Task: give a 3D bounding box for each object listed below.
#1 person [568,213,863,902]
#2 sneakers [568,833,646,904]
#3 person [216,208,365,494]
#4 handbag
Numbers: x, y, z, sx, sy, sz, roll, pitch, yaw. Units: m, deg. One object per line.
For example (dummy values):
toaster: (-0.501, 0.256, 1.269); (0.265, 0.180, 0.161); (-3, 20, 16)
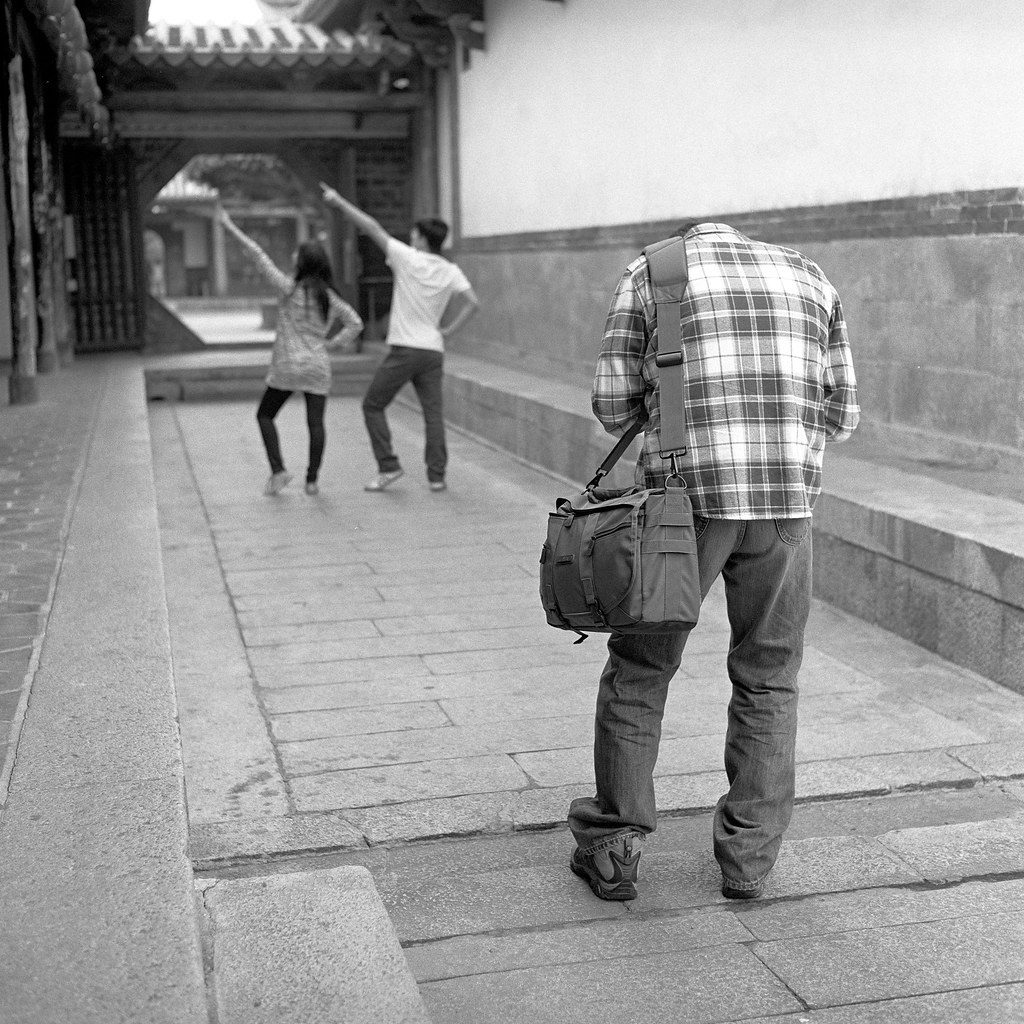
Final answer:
person: (0.453, 0.107, 2.771); (0.636, 1.464, 0.355); (1, 8, 3)
sneakers: (0.204, 0.770, 2.759); (0.078, 0.166, 0.222); (1, 9, -12)
person: (-1.414, -1.053, 8.314); (0.805, 1.700, 2.047); (-1, 10, -8)
handbag: (0.210, 0.103, 2.702); (0.222, 0.346, 0.366); (12, -14, -40)
